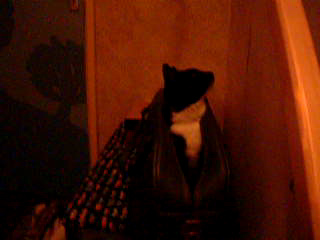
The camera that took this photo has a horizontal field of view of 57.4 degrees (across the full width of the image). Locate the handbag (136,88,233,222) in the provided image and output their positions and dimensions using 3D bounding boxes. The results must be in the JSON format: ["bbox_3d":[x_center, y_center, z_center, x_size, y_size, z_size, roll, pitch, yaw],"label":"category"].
[{"bbox_3d":[0.173,0.138,1.082,0.273,0.457,0.228,-4,5,36],"label":"handbag"}]
